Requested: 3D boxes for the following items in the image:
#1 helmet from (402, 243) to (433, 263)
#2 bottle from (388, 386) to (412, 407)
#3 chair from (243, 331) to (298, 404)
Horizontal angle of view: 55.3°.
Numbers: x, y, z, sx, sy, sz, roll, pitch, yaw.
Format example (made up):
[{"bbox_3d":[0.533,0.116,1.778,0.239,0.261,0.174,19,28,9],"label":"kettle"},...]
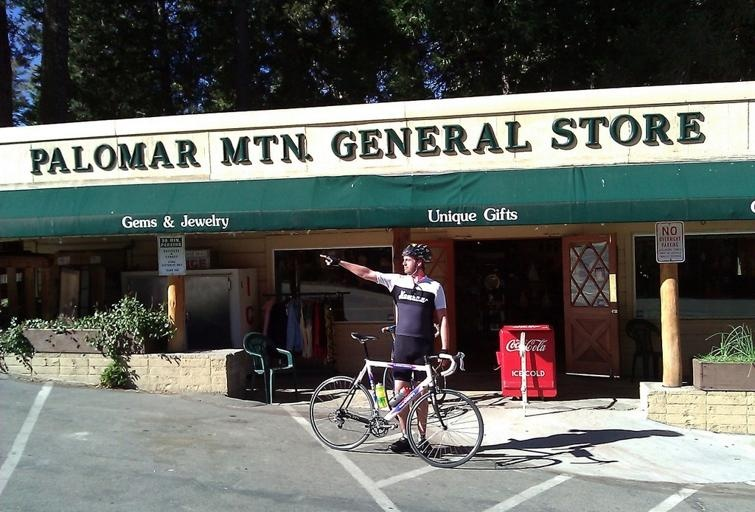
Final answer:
[{"bbox_3d":[0.614,-0.065,11.001,0.377,0.267,0.325,-3,5,-9],"label":"helmet"},{"bbox_3d":[0.350,2.112,10.836,0.367,0.224,0.112,-43,-13,1],"label":"bottle"},{"bbox_3d":[-2.097,2.118,13.736,0.749,1.107,0.829,1,2,17],"label":"chair"}]
